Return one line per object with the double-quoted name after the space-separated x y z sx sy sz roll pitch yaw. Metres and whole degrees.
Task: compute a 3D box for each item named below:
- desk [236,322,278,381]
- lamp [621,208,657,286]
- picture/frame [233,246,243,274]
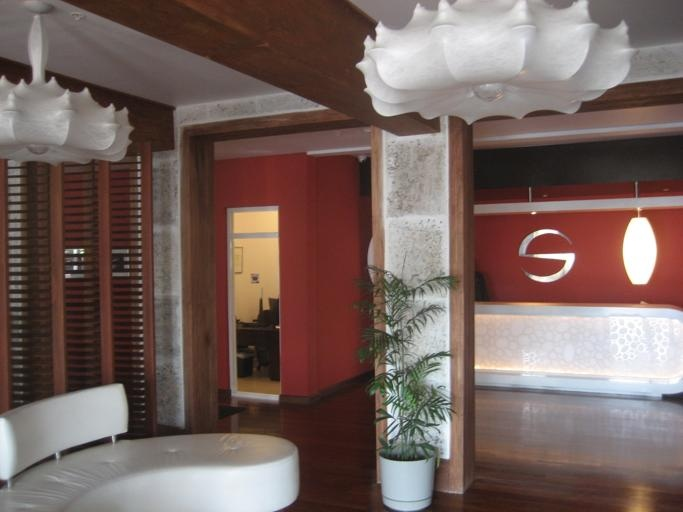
-1.035 1.346 8.205 0.783 0.686 0.560 2 -1 29 "desk"
4.670 -0.085 9.020 0.442 1.025 0.199 0 1 24 "lamp"
-1.445 0.052 8.044 0.133 0.383 0.022 -1 1 14 "picture/frame"
